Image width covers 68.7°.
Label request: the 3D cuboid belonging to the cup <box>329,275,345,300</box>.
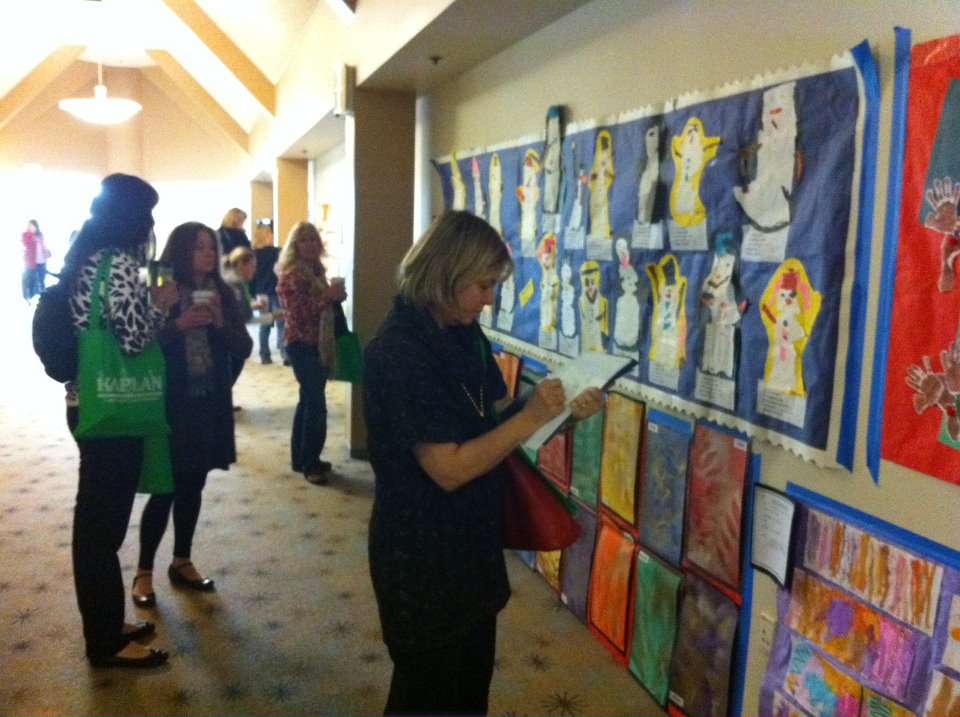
[{"bbox_3d":[-1.013,-0.478,4.879,0.153,0.153,0.077,10,13,38],"label":"cup"}]

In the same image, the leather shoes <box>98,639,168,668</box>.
[{"bbox_3d":[-1.487,1.245,2.999,0.277,0.129,0.107,-1,2,-9],"label":"leather shoes"}]

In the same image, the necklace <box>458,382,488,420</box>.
[{"bbox_3d":[-0.028,0.119,1.983,0.005,0.121,0.024,-11,41,31],"label":"necklace"}]

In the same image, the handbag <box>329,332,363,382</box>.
[{"bbox_3d":[-0.957,-0.009,4.912,0.270,0.392,0.137,2,16,2],"label":"handbag"}]

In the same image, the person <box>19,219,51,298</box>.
[{"bbox_3d":[-7.850,-1.715,12.313,0.389,1.421,0.866,-5,12,-33],"label":"person"}]

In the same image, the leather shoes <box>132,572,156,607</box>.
[{"bbox_3d":[-1.615,1.106,3.363,0.069,0.092,0.216,1,-2,-20],"label":"leather shoes"}]

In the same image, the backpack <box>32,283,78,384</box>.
[{"bbox_3d":[-1.685,-0.091,2.773,0.146,0.412,0.141,-6,12,-36],"label":"backpack"}]

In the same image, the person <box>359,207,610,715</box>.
[{"bbox_3d":[-0.068,0.295,2.040,0.535,1.410,0.366,-1,10,-11],"label":"person"}]

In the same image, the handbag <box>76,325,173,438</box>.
[{"bbox_3d":[-1.441,0.093,2.803,0.417,0.592,0.145,0,0,-26],"label":"handbag"}]

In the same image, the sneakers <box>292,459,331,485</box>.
[{"bbox_3d":[-1.214,0.816,5.065,0.333,0.159,0.115,-1,-2,40],"label":"sneakers"}]

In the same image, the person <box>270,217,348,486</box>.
[{"bbox_3d":[-1.182,-0.035,4.955,0.420,1.765,0.418,-2,10,-17],"label":"person"}]
